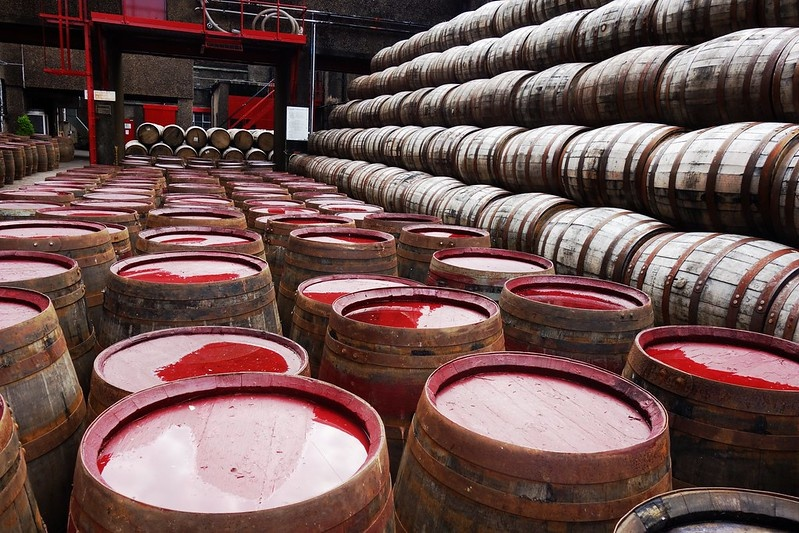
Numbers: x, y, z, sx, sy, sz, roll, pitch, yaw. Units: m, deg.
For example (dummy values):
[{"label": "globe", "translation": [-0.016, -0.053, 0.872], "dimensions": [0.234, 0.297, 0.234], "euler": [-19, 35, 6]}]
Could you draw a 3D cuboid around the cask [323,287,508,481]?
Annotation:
[{"label": "cask", "translation": [0.014, 0.827, 5.377], "dimensions": [1.240, 1.335, 1.267], "euler": [-1, 14, -11]}]
